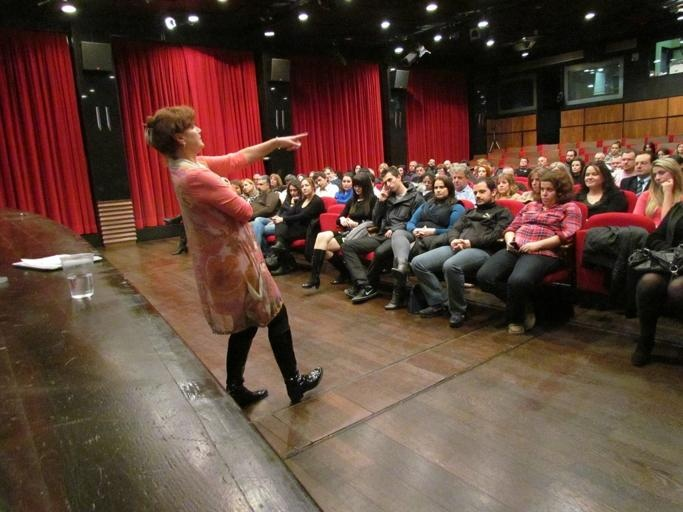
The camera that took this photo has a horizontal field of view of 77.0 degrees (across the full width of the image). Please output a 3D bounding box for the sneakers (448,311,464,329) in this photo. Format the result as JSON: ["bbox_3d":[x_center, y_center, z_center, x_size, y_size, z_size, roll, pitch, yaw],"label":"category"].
[{"bbox_3d":[0.839,0.461,3.135,0.103,0.112,0.294,-4,-8,20],"label":"sneakers"}]

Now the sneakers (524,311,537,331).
[{"bbox_3d":[1.319,0.441,3.011,0.073,0.149,0.058,-9,11,-5],"label":"sneakers"}]

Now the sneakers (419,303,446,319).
[{"bbox_3d":[0.719,0.437,3.361,0.256,0.098,0.080,2,-3,-20],"label":"sneakers"}]

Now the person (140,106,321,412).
[{"bbox_3d":[-0.478,0.082,2.014,0.682,1.475,0.439,-8,19,-38],"label":"person"}]

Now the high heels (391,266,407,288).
[{"bbox_3d":[0.488,0.171,3.521,0.079,0.204,0.135,1,46,18],"label":"high heels"}]

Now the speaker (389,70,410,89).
[{"bbox_3d":[1.424,-4.372,10.578,0.487,0.449,0.144,-2,16,-23],"label":"speaker"}]

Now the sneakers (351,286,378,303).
[{"bbox_3d":[0.218,0.338,3.846,0.292,0.108,0.100,-8,-11,-38],"label":"sneakers"}]

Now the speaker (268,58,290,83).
[{"bbox_3d":[-1.308,-3.807,8.762,0.550,0.457,0.273,-5,14,-31],"label":"speaker"}]

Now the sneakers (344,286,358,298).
[{"bbox_3d":[0.082,0.325,3.983,0.076,0.059,0.152,4,2,-19],"label":"sneakers"}]
